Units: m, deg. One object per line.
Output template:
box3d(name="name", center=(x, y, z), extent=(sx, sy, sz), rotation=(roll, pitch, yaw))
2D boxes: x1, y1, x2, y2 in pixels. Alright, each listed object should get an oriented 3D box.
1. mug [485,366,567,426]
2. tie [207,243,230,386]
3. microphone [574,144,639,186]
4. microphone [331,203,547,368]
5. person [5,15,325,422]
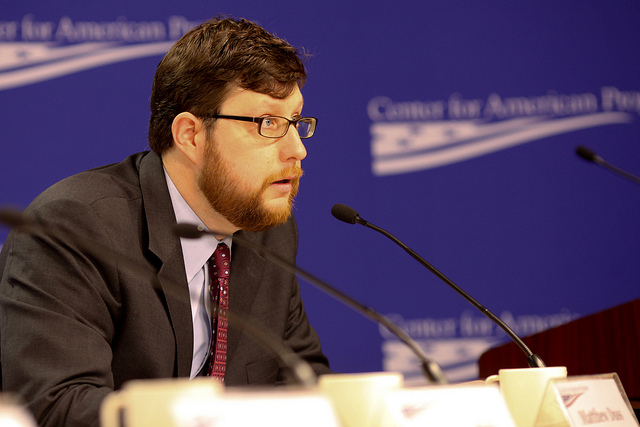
box3d(name="mug", center=(0.614, 0.548, 1.861), extent=(0.226, 0.200, 0.146), rotation=(-8, -12, 26))
box3d(name="tie", center=(-0.371, 0.381, 2.477), extent=(0.069, 0.552, 0.108), rotation=(5, -5, -36))
box3d(name="microphone", center=(1.594, -0.272, 3.494), extent=(0.432, 0.065, 0.061), rotation=(29, -31, 5))
box3d(name="microphone", center=(0.619, 0.434, 3.445), extent=(0.164, 0.164, 1.518), rotation=(-4, 34, -45))
box3d(name="person", center=(-0.558, -0.011, 2.382), extent=(0.566, 1.509, 1.289), rotation=(-3, 2, 45))
